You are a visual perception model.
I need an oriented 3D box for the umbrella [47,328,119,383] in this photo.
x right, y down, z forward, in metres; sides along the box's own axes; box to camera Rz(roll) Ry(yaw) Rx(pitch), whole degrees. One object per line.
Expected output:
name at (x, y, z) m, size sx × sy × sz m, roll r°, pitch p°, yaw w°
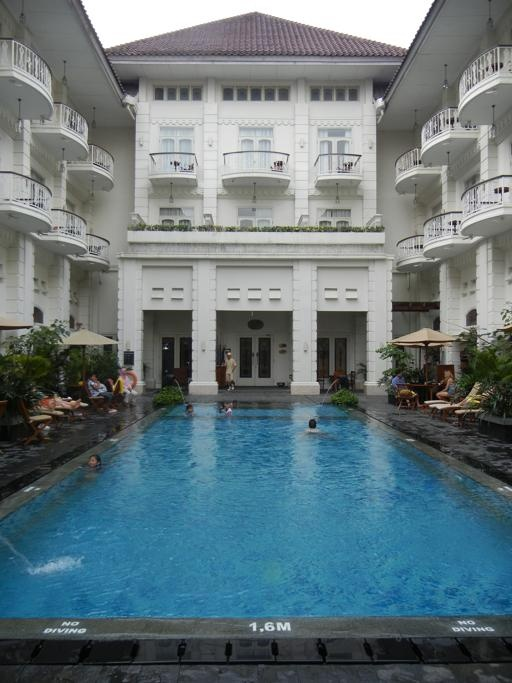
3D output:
umbrella at (-5.430, 0.130, 18.812) m, size 2.189 × 1.467 × 1.970 m, roll 0°, pitch 0°, yaw 1°

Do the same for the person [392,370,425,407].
person at (5.331, 1.698, 20.744) m, size 1.022 × 1.368 × 1.074 m, roll -3°, pitch 2°, yaw 6°

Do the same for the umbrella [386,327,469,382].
umbrella at (5.744, 0.273, 20.098) m, size 2.110 × 1.507 × 2.054 m, roll -8°, pitch 10°, yaw -26°
